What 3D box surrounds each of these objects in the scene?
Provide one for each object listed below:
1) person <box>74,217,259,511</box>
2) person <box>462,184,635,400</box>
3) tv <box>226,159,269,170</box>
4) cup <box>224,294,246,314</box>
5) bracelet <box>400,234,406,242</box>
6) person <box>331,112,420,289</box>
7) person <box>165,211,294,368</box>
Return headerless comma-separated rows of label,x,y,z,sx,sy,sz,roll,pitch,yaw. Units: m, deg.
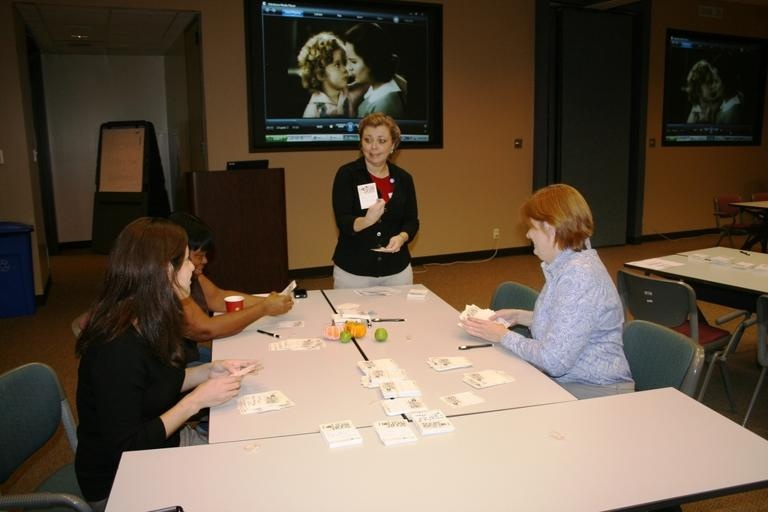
person,-1.056,0.467,2.429,0.685,1.216,0.480,-11,16,-31
person,0.943,0.055,3.563,0.970,1.828,0.928,1,11,16
tv,-1.369,-0.897,5.427,0.414,0.086,0.255,-14,17,-36
cup,-0.906,0.285,3.296,0.106,0.091,0.114,0,0,0
bracelet,0.143,-0.131,3.920,0.039,0.046,0.051,-1,4,-9
person,-0.067,-0.371,3.920,0.644,1.248,0.471,-4,14,-4
person,-1.037,0.193,3.644,0.655,1.206,0.448,-9,40,-12
